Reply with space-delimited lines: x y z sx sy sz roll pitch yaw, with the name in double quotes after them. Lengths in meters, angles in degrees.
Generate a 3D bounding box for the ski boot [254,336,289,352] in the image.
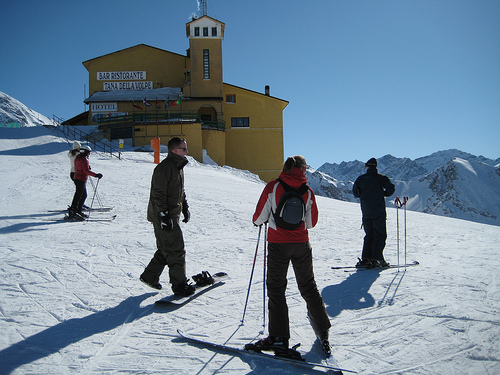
0.324 2.215 6.245 0.544 0.254 0.194 6 -9 8 "ski boot"

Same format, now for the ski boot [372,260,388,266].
2.884 1.687 9.678 0.368 0.114 0.061 2 8 -10 "ski boot"

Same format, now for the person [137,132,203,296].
-1.385 0.527 7.465 0.897 2.724 0.681 0 9 -20 "person"

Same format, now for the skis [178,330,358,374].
0.217 2.361 6.142 1.956 0.151 0.211 7 -16 7 "skis"

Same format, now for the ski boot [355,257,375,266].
2.579 1.696 9.773 0.378 0.171 0.196 6 9 18 "ski boot"

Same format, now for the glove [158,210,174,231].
-1.379 0.558 7.191 0.282 0.308 0.103 3 6 32 "glove"

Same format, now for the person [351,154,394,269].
2.836 0.581 10.036 0.927 2.572 1.488 5 9 16 "person"

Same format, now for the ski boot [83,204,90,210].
-5.134 0.621 13.701 0.158 0.060 0.126 17 -5 42 "ski boot"

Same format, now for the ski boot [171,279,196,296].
-1.152 1.759 7.583 0.439 0.206 0.168 -1 20 -8 "ski boot"

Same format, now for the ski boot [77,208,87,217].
-4.810 0.721 12.458 0.300 0.307 0.106 1 6 -36 "ski boot"

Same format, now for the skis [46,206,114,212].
-5.225 0.679 13.245 2.078 0.164 0.231 0 1 -28 "skis"

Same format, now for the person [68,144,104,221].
-4.659 -0.049 12.154 0.733 2.114 1.418 -1 9 -25 "person"

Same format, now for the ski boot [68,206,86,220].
-4.860 0.724 12.277 0.410 0.365 0.336 0 9 -22 "ski boot"
